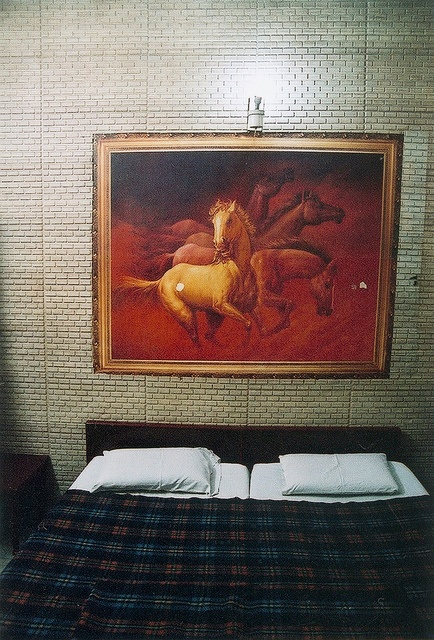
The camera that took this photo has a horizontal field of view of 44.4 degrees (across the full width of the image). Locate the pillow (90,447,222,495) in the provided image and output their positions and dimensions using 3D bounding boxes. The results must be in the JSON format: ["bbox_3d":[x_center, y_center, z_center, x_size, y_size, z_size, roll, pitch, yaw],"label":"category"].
[{"bbox_3d":[-0.273,0.712,2.490,0.390,0.076,0.250,1,27,2],"label":"pillow"}]

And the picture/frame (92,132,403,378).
[{"bbox_3d":[0.206,-0.391,2.755,1.329,1.020,0.048,0,5,3],"label":"picture/frame"}]
